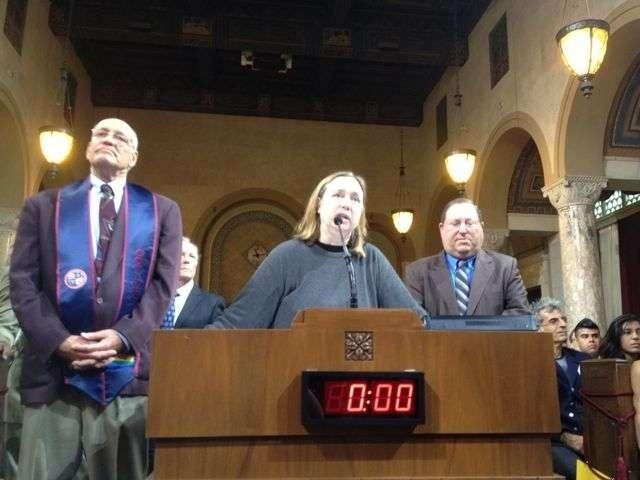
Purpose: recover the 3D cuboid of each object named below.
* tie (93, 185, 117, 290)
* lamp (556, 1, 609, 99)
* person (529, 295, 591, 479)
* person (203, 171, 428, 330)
[{"bbox_3d":[-1.528,-0.052,5.493,0.117,0.652,0.035,-4,-29,4],"label":"tie"},{"bbox_3d":[2.874,-1.982,8.458,0.544,0.910,0.221,-1,-5,20],"label":"lamp"},{"bbox_3d":[2.247,1.337,7.150,0.503,1.561,1.311,-1,-5,17],"label":"person"},{"bbox_3d":[0.014,0.057,5.297,1.316,1.097,0.458,1,-5,-8],"label":"person"}]
